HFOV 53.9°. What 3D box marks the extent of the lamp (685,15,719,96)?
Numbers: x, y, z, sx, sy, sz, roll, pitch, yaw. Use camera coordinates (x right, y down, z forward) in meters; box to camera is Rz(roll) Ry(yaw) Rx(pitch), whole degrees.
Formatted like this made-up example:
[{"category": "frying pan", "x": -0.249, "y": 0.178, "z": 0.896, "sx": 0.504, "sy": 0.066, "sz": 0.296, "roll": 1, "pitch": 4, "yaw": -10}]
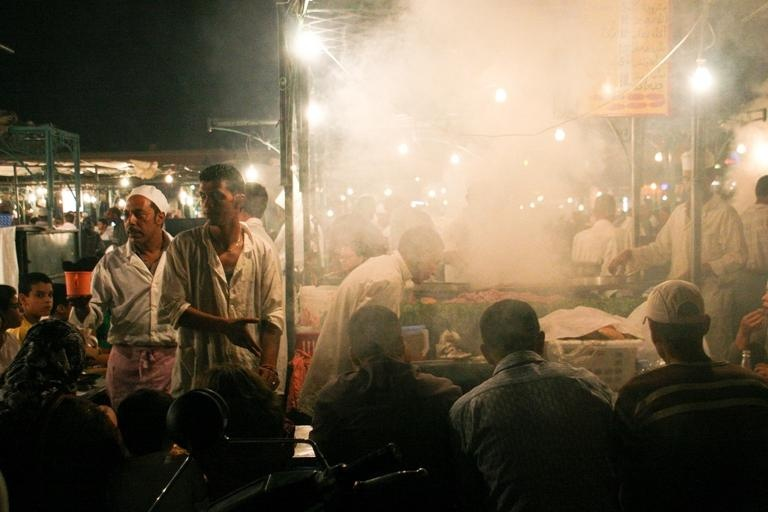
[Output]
[{"category": "lamp", "x": 3.189, "y": -2.006, "z": 7.579, "sx": 0.212, "sy": 0.839, "sz": 0.428, "roll": 0, "pitch": 3, "yaw": 22}]
